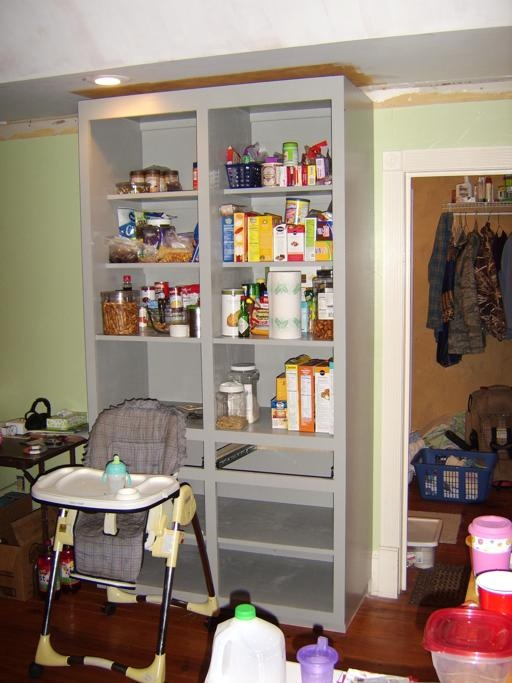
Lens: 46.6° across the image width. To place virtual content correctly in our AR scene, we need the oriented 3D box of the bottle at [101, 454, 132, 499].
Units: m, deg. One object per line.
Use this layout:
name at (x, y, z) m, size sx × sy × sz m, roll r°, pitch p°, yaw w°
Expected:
bottle at (-0.494, 0.472, 2.115) m, size 0.093 × 0.151 × 0.269 m, roll -2°, pitch 5°, yaw -13°

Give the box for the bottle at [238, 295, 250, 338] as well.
bottle at (-0.058, -0.111, 2.686) m, size 0.048 × 0.186 × 0.063 m, roll -3°, pitch 5°, yaw -16°

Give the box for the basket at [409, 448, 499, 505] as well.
basket at (1.477, 0.996, 4.451) m, size 0.538 × 0.237 × 0.351 m, roll 2°, pitch 4°, yaw 15°

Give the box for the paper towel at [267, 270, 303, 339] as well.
paper towel at (0.128, -0.160, 2.602) m, size 0.148 × 0.293 × 0.133 m, roll -1°, pitch 5°, yaw 2°

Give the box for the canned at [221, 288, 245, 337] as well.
canned at (-0.095, -0.139, 2.742) m, size 0.136 × 0.210 × 0.131 m, roll -6°, pitch 3°, yaw -3°

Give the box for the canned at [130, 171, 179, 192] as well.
canned at (-0.489, -0.741, 2.830) m, size 0.179 × 0.074 × 0.134 m, roll 3°, pitch 11°, yaw 16°

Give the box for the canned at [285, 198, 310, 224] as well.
canned at (0.173, -0.564, 2.573) m, size 0.120 × 0.119 × 0.114 m, roll 0°, pitch 8°, yaw -2°

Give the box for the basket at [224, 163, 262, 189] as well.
basket at (-0.062, -0.729, 2.615) m, size 0.122 × 0.095 × 0.159 m, roll 3°, pitch 11°, yaw 16°
